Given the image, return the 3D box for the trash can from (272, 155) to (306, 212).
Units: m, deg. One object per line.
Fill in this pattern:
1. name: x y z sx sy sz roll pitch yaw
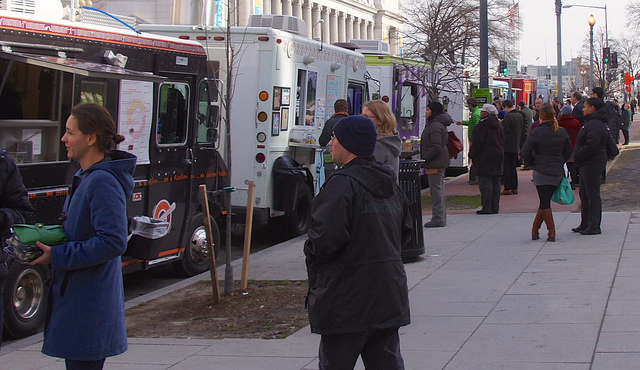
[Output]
1. trash can: -0.637 -0.128 12.874 0.675 0.966 0.709 -1 6 -20

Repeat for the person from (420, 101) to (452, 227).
1. person: 2.608 -0.419 13.400 0.608 2.845 0.608 -2 7 9

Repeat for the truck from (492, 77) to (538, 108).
1. truck: 11.388 -5.119 35.587 2.267 2.404 4.344 4 11 31

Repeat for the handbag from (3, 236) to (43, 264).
1. handbag: -2.642 0.565 5.241 0.410 0.244 0.100 -1 7 18

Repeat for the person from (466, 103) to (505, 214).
1. person: 4.227 -0.647 15.097 0.813 2.749 1.094 -1 7 15

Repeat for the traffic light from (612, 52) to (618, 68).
1. traffic light: 23.480 -9.995 47.528 0.351 1.159 1.075 -1 7 18

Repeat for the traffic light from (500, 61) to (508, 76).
1. traffic light: 8.488 -5.381 27.598 0.225 0.661 1.016 -2 7 10

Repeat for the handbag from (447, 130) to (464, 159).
1. handbag: 3.171 -0.924 13.636 0.221 0.538 0.483 1 4 -22

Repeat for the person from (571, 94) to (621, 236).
1. person: 5.674 -0.398 12.259 0.980 2.857 0.945 5 -5 -10

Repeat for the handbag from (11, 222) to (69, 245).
1. handbag: -2.574 0.442 5.397 0.475 0.194 0.483 13 -17 -33

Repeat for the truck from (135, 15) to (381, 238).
1. truck: -1.652 -1.742 14.277 3.884 3.938 6.178 2 6 24

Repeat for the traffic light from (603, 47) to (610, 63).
1. traffic light: 22.608 -10.187 46.942 0.374 1.138 1.263 0 8 27

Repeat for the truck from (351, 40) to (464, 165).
1. truck: 2.561 -3.234 20.117 2.419 3.341 6.050 1 4 27

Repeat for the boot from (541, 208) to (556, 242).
1. boot: 4.512 0.769 11.798 0.238 0.673 0.293 -1 7 20

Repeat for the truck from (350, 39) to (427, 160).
1. truck: 1.680 -2.477 19.043 2.669 3.629 4.870 6 8 19

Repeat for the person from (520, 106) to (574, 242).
1. person: 4.539 -0.237 11.924 0.882 2.650 0.656 -6 7 -27
